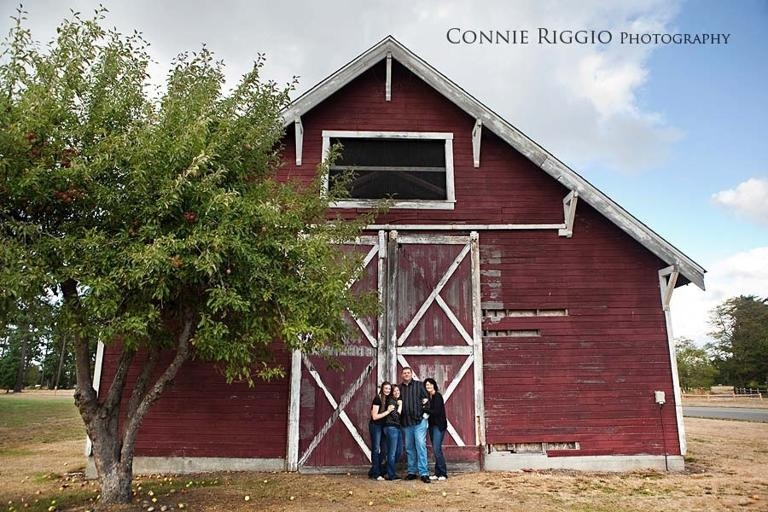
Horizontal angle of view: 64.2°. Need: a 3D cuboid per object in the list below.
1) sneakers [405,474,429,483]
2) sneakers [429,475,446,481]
[{"bbox_3d":[0.836,5.393,14.850,0.605,0.271,0.220,-10,-11,21],"label":"sneakers"},{"bbox_3d":[1.348,5.465,15.041,0.367,0.165,0.137,-1,-13,3],"label":"sneakers"}]
